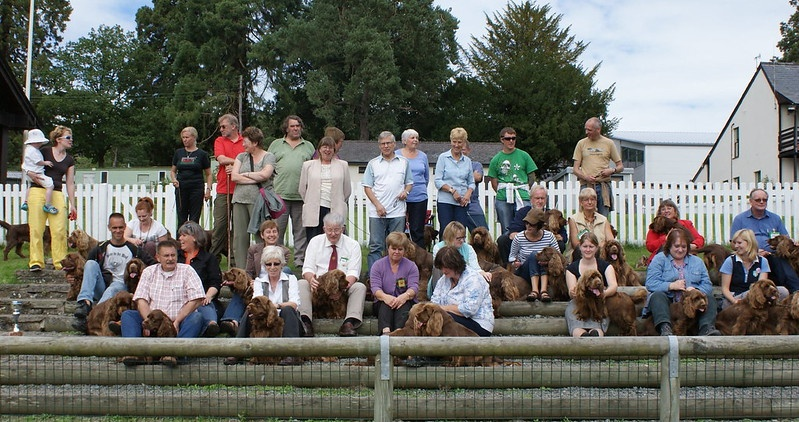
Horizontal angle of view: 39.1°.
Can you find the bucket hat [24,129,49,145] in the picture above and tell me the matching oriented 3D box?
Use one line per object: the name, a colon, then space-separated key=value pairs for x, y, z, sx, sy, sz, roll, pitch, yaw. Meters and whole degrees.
bucket hat: x=-14.707 y=-3.046 z=45.644 sx=0.761 sy=0.709 sz=1.195 roll=1 pitch=-3 yaw=-19
